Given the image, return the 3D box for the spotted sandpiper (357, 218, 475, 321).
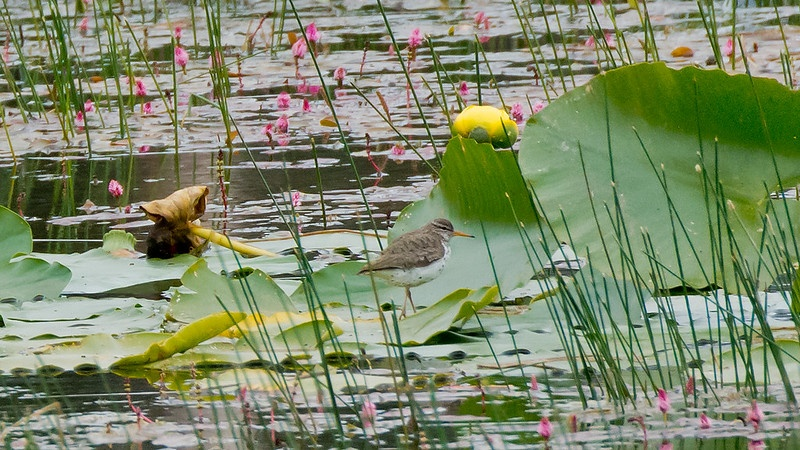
[{"bbox_3d":[0.094,0.231,5.999,0.657,0.520,0.306,-1,0,-26],"label":"spotted sandpiper"}]
